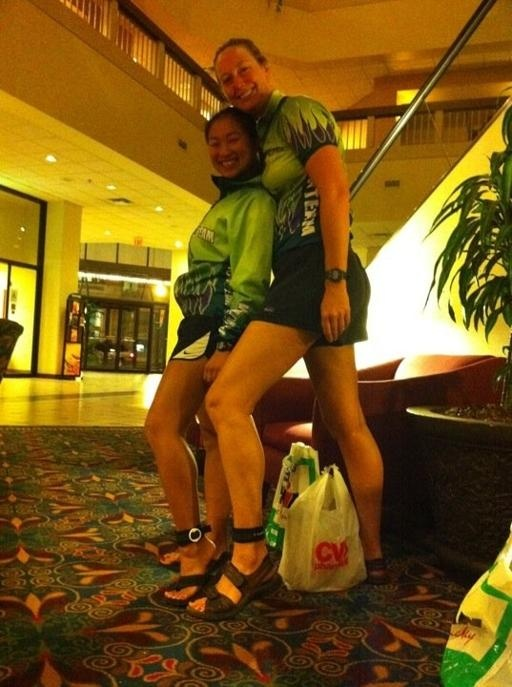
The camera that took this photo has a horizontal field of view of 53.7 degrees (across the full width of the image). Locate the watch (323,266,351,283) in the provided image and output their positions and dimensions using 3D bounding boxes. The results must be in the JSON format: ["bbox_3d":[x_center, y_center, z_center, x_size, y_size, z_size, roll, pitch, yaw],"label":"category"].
[{"bbox_3d":[0.187,-0.161,1.188,0.050,0.029,0.047,-4,3,16],"label":"watch"}]

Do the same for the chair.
[{"bbox_3d":[0.467,0.306,2.091,0.811,0.684,0.801,4,-11,-15],"label":"chair"}]

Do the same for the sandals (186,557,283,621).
[{"bbox_3d":[-0.051,0.553,1.184,0.193,0.082,0.089,-11,-9,-36],"label":"sandals"}]
